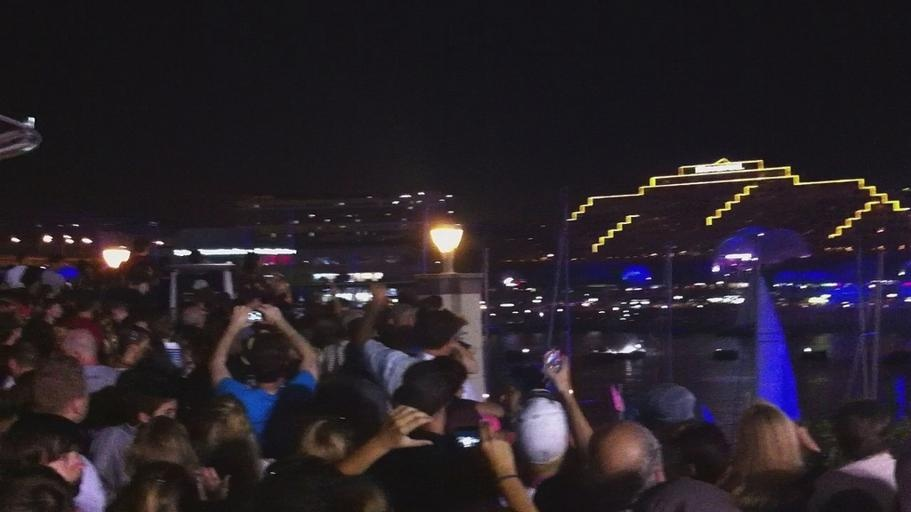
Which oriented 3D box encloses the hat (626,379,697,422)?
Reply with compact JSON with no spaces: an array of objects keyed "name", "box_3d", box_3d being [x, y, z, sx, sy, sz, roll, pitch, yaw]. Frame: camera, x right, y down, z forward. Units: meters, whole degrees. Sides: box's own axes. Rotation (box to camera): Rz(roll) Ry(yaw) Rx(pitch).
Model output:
[{"name":"hat","box_3d":[2.445,1.770,9.289,0.882,0.256,0.507,-6,-1,16]}]
